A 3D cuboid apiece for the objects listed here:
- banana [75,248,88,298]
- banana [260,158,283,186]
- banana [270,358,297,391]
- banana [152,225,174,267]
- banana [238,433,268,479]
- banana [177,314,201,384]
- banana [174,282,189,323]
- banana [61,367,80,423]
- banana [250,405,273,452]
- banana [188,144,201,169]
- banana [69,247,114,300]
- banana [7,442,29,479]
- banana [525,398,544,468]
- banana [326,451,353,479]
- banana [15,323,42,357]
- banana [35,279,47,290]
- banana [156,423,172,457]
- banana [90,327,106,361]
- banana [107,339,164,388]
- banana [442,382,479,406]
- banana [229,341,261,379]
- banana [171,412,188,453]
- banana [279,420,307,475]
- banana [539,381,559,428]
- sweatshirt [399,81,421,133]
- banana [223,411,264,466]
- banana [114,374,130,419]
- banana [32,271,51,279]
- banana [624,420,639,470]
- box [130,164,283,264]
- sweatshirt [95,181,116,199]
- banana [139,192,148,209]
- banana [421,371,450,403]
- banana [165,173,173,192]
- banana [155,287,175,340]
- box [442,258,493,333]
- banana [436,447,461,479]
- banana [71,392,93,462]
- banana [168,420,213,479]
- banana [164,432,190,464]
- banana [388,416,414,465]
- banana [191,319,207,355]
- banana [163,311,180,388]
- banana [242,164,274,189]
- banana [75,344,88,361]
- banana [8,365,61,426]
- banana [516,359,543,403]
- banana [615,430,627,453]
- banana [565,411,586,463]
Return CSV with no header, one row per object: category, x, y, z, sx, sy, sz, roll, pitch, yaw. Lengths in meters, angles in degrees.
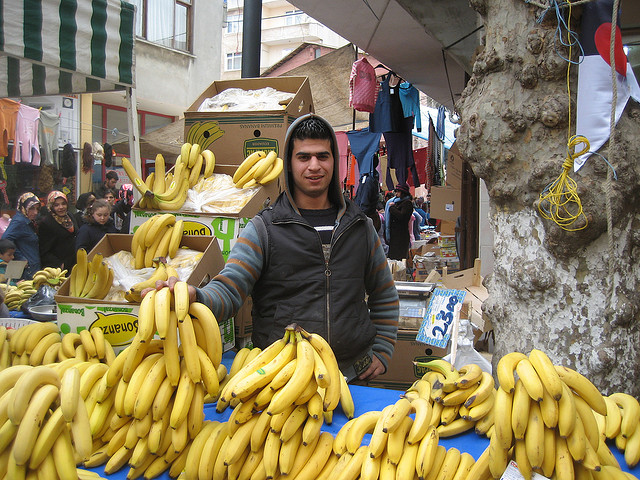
banana,-1.640,0.240,3.753,0.053,0.310,0.096,8,9,5
banana,-0.406,-0.560,4.426,0.110,0.053,0.221,-23,28,25
banana,-0.163,0.638,2.663,0.204,0.059,0.061,-38,-3,-42
banana,-1.130,0.044,4.025,0.068,0.350,0.111,27,-21,-27
banana,-0.310,1.042,2.647,0.071,0.235,0.055,-2,-36,48
banana,-0.644,0.557,2.763,0.093,0.420,0.074,-12,-2,39
banana,-0.700,0.313,2.764,0.072,0.243,0.074,-1,-43,-13
banana,-1.160,0.721,2.598,0.065,0.270,0.088,12,-46,-18
banana,-0.287,0.913,2.604,0.057,0.241,0.077,17,-22,5
banana,-1.047,-0.696,4.568,0.056,0.227,0.072,13,-18,-7
banana,-1.646,0.239,3.812,0.165,0.320,0.192,12,-15,6
banana,-1.391,1.051,2.533,0.048,0.229,0.074,-4,5,10
banana,0.959,0.884,2.496,0.059,0.285,0.089,-4,-27,5
banana,0.106,1.063,2.655,0.045,0.085,0.217,14,25,30
banana,-1.921,0.637,3.566,0.055,0.242,0.078,4,-35,21
banana,-2.684,0.428,5.229,0.111,0.107,0.038,3,0,19
banana,-0.762,1.002,2.707,0.045,0.197,0.059,17,-10,-14
banana,-1.421,0.630,3.484,0.070,0.094,0.272,-2,41,-26
banana,-0.975,0.632,2.840,0.081,0.287,0.228,25,-15,33
banana,0.729,0.831,2.934,0.256,0.080,0.093,-15,-30,4
banana,-0.424,0.670,3.127,0.135,0.114,0.301,-3,21,11
banana,-0.681,0.950,2.700,0.051,0.204,0.059,21,-23,-40
banana,-0.126,0.989,2.628,0.059,0.273,0.086,32,-37,-18
banana,1.022,0.745,2.480,0.049,0.211,0.062,-6,-6,-18
sweatshirt,1.511,-2.303,9.223,0.253,0.789,0.857,3,-1,19
banana,-0.336,0.962,2.653,0.097,0.316,0.089,8,-44,37
banana,-0.993,0.788,2.751,0.048,0.221,0.069,-5,-17,18
banana,-2.770,0.347,5.438,0.103,0.041,0.129,14,5,-19
banana,1.544,1.026,2.747,0.053,0.219,0.072,25,-41,-2
box,-1.041,-0.088,4.572,1.040,0.528,1.111,2,2,28
sweatshirt,-3.599,-0.791,8.980,0.179,0.296,0.528,3,-1,-23
banana,-1.386,-0.309,4.279,0.032,0.128,0.043,31,36,-5
banana,0.660,0.859,3.193,0.108,0.096,0.370,-20,-30,4
banana,-1.232,-0.465,4.444,0.039,0.159,0.043,23,-29,-15
banana,-0.774,0.360,2.766,0.068,0.282,0.094,4,-44,-10
box,1.561,0.561,5.847,0.494,0.724,1.429,3,-1,14
banana,0.605,1.063,2.579,0.072,0.123,0.141,3,-1,32
banana,-1.101,0.878,2.591,0.082,0.351,0.105,-8,-9,-10
banana,-0.644,1.050,2.728,0.063,0.259,0.083,34,-9,12
banana,-0.718,1.031,2.708,0.037,0.150,0.047,28,6,-12
banana,0.386,0.931,2.624,0.066,0.262,0.079,28,-33,-11
banana,-0.619,0.493,2.808,0.048,0.213,0.065,-13,6,25
banana,-0.736,0.540,2.728,0.064,0.375,0.112,-3,-7,-2
banana,-0.508,-0.509,4.385,0.046,0.214,0.073,48,2,-13
banana,-1.497,0.707,3.411,0.054,0.116,0.034,-1,-10,-16
banana,-1.316,0.709,2.502,0.057,0.231,0.183,1,-38,24
banana,0.962,0.644,2.508,0.054,0.059,0.194,23,33,-20
banana,1.526,1.029,2.785,0.025,0.091,0.048,6,4,17
banana,1.145,0.886,2.495,0.059,0.251,0.076,5,-18,-22
